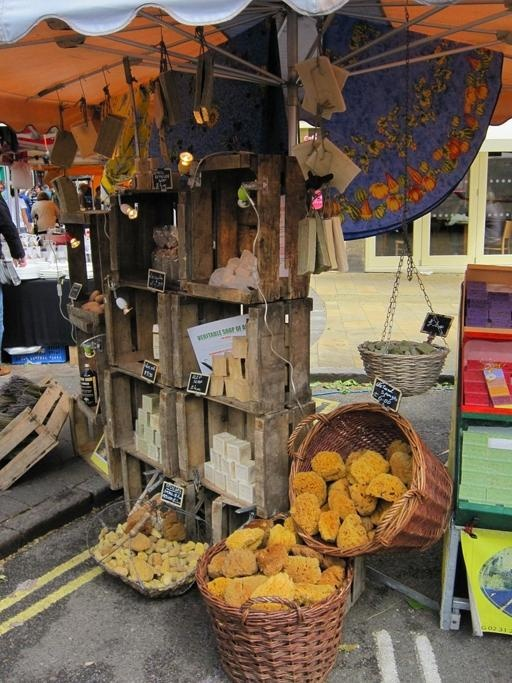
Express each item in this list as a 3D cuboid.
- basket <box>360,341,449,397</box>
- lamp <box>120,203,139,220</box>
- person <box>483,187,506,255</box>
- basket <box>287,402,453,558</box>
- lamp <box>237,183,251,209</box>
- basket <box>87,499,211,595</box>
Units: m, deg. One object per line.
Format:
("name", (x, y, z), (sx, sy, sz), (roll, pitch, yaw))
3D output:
("basket", (0.812, 0.130, 2.958), (0.403, 0.222, 0.401), (1, 0, 5))
("lamp", (-0.748, -0.767, 3.129), (0.078, 0.074, 0.120), (25, 17, -45))
("person", (5.657, -2.836, 12.634), (0.463, 1.475, 0.134), (-2, 8, 3))
("basket", (0.445, 0.565, 2.230), (0.660, 0.569, 0.697), (4, 9, 43))
("lamp", (-0.068, -0.680, 2.508), (0.049, 0.131, 0.098), (4, 17, 29))
("basket", (-0.550, 1.062, 2.754), (0.554, 0.347, 0.655), (-5, 7, -20))
